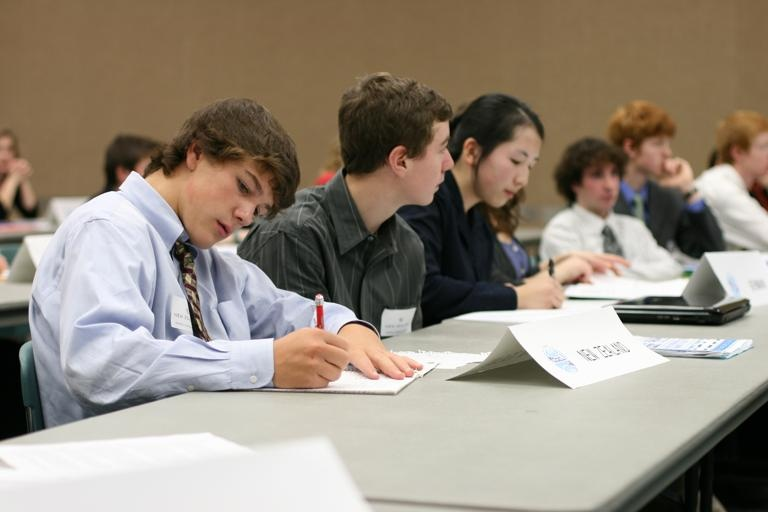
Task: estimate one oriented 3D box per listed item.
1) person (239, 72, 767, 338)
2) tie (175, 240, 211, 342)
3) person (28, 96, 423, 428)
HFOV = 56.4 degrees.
[{"bbox_3d":[0.201,-0.096,2.285,0.971,0.905,0.789,-2,5,18],"label":"person"},{"bbox_3d":[-0.480,0.064,1.741,0.064,0.293,0.039,-4,-16,-41],"label":"tie"},{"bbox_3d":[-0.424,0.008,2.121,0.885,1.413,0.692,0,-3,13],"label":"person"}]
